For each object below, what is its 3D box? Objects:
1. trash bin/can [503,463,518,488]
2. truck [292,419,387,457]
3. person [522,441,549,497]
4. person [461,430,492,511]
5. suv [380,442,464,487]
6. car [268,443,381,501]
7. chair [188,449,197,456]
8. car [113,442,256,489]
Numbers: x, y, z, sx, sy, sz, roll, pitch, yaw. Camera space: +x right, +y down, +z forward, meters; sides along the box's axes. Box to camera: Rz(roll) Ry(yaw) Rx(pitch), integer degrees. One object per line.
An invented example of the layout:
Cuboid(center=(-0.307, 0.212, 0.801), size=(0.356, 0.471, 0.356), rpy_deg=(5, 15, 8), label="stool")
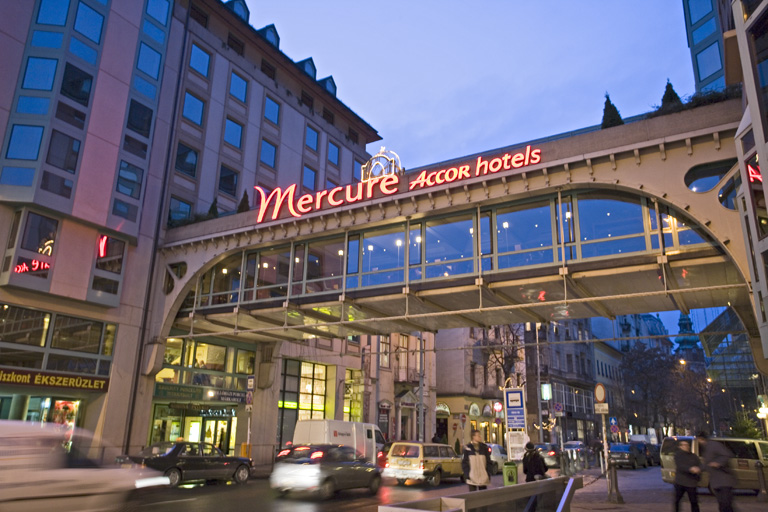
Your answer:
Cuboid(center=(5.040, 8.723, 22.042), size=(0.477, 0.820, 0.396), rpy_deg=(-9, -23, 21), label="trash bin/can")
Cuboid(center=(-1.799, 10.818, 32.023), size=(4.239, 1.977, 1.861), rpy_deg=(16, -24, -36), label="truck")
Cuboid(center=(5.922, 8.340, 21.738), size=(0.937, 1.764, 0.776), rpy_deg=(-11, 6, -23), label="person")
Cuboid(center=(3.289, 7.367, 19.825), size=(0.910, 2.009, 0.880), rpy_deg=(-11, -24, 27), label="person")
Cuboid(center=(2.200, 11.196, 29.607), size=(3.999, 2.182, 1.590), rpy_deg=(14, -25, -32), label="suv")
Cuboid(center=(-2.267, 9.202, 23.926), size=(2.140, 1.555, 4.537), rpy_deg=(-10, -19, 34), label="car")
Cuboid(center=(-8.772, 9.061, 25.355), size=(0.409, 0.226, 0.410), rpy_deg=(17, -22, -37), label="chair")
Cuboid(center=(-8.989, 9.714, 25.947), size=(2.123, 1.539, 4.976), rpy_deg=(-14, -23, 37), label="car")
